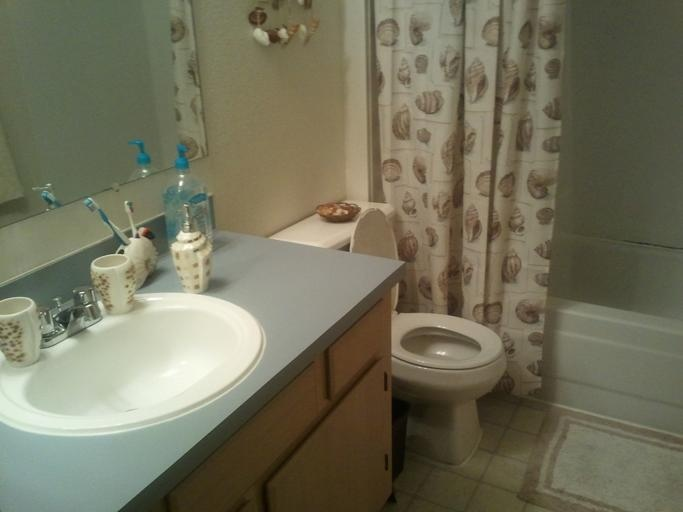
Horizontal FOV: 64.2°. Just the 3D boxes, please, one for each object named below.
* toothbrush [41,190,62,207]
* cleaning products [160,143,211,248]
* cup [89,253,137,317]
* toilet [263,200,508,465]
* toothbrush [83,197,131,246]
[{"bbox_3d":[-0.737,-0.143,1.377,0.025,0.032,0.051,-46,20,-19],"label":"toothbrush"},{"bbox_3d":[-0.476,-0.180,1.708,0.150,0.344,0.102,21,26,28],"label":"cleaning products"},{"bbox_3d":[-0.560,0.076,1.400,0.123,0.149,0.098,20,25,28],"label":"cup"},{"bbox_3d":[0.175,0.262,1.862,0.888,1.002,0.576,9,31,28],"label":"toilet"},{"bbox_3d":[-0.648,-0.108,1.500,0.123,0.123,0.081,22,25,35],"label":"toothbrush"}]
